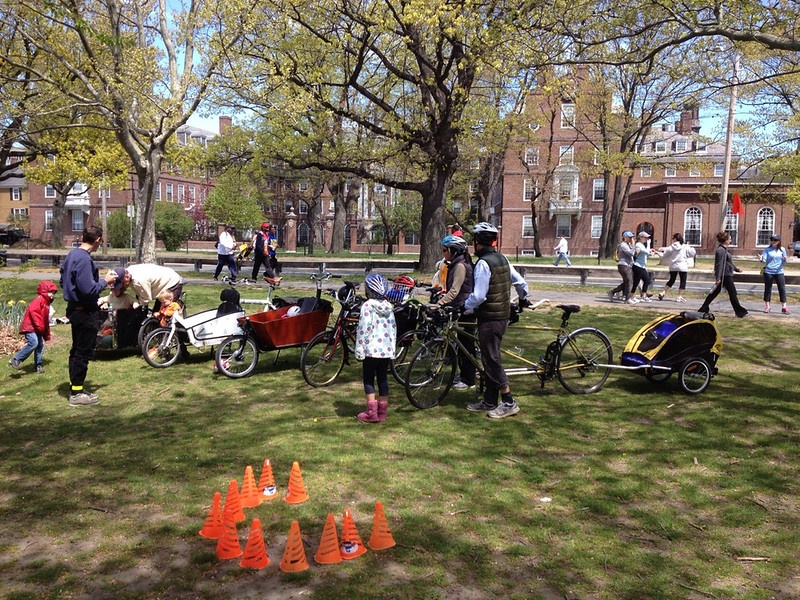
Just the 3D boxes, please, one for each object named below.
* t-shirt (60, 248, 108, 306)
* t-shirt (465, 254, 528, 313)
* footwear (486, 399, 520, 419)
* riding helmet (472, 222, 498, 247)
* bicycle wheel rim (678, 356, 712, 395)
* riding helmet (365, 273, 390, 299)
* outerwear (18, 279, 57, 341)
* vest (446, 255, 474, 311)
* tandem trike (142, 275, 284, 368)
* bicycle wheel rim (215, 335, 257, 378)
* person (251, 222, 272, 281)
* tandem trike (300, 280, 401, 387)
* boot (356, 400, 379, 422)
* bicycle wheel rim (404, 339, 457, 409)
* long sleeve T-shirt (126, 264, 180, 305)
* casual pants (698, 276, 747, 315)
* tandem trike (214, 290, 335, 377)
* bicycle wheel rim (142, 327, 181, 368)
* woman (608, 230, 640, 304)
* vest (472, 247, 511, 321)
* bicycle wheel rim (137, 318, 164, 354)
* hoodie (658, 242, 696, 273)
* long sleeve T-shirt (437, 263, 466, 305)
[{"bbox_3d":[-4.564,-0.297,10.019,0.596,0.919,0.370,-1,4,-17],"label":"t-shirt"},{"bbox_3d":[1.393,-0.289,10.307,1.307,0.812,0.489,-10,11,-37],"label":"t-shirt"},{"bbox_3d":[1.535,1.624,10.332,0.516,0.238,0.193,-3,1,-9],"label":"footwear"},{"bbox_3d":[1.244,-0.970,10.209,0.350,0.325,0.541,1,4,5],"label":"riding helmet"},{"bbox_3d":[4.689,1.194,11.096,0.453,0.503,0.140,-17,17,-11],"label":"bicycle wheel rim"},{"bbox_3d":[-0.306,-0.201,9.916,0.274,0.363,0.330,-19,-10,-9],"label":"riding helmet"},{"bbox_3d":[-5.965,0.177,11.492,0.532,0.987,0.507,-2,5,-27],"label":"outerwear"},{"bbox_3d":[0.930,-0.303,10.972,0.555,0.855,0.434,-4,3,44],"label":"vest"},{"bbox_3d":[-3.116,0.389,11.964,2.566,1.461,0.907,-6,9,-30],"label":"tandem trike"},{"bbox_3d":[-2.784,0.972,11.807,0.629,0.685,0.290,-5,9,-35],"label":"bicycle wheel rim"},{"bbox_3d":[-4.370,-1.527,22.171,0.640,1.846,1.696,0,4,-11],"label":"person"},{"bbox_3d":[-0.784,0.545,11.944,1.135,1.623,2.570,10,11,38],"label":"tandem trike"},{"bbox_3d":[-0.448,1.573,10.121,0.201,0.358,0.381,-6,17,-33],"label":"boot"},{"bbox_3d":[0.433,1.108,10.520,0.901,1.097,0.362,-2,5,-35],"label":"bicycle wheel rim"},{"bbox_3d":[-4.196,-0.225,12.217,0.939,0.706,0.697,-16,-4,-21],"label":"long sleeve T-shirt"},{"bbox_3d":[8.026,-0.161,17.222,1.150,1.253,0.268,-1,-28,29],"label":"casual pants"},{"bbox_3d":[-2.150,0.610,11.772,2.037,1.044,0.950,-10,9,-34],"label":"tandem trike"},{"bbox_3d":[-4.143,0.804,12.081,0.631,0.701,0.214,-3,9,-31],"label":"bicycle wheel rim"},{"bbox_3d":[6.548,-0.972,20.387,0.656,2.053,1.748,2,5,17],"label":"woman"},{"bbox_3d":[1.341,-0.178,10.234,0.492,0.991,0.617,4,13,33],"label":"vest"},{"bbox_3d":[-4.396,0.587,12.119,0.148,0.510,0.492,11,-8,-7],"label":"bicycle wheel rim"},{"bbox_3d":[8.230,-1.288,20.677,0.830,0.919,1.154,2,5,22],"label":"hoodie"},{"bbox_3d":[0.844,-0.216,10.585,0.197,0.584,0.426,28,4,-18],"label":"long sleeve T-shirt"}]
